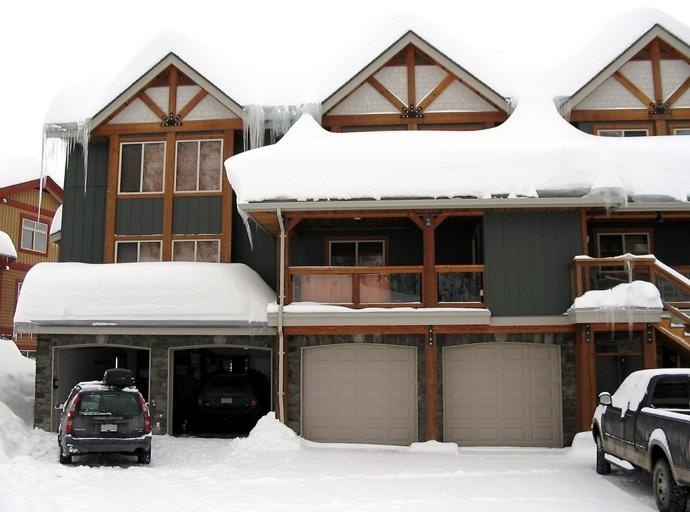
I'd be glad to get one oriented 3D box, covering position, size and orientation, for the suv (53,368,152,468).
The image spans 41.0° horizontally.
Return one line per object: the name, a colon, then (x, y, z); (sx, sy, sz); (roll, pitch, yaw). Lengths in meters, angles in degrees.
suv: (-5.756, 3.973, 22.524); (1.567, 1.476, 2.794); (1, -5, -11)
